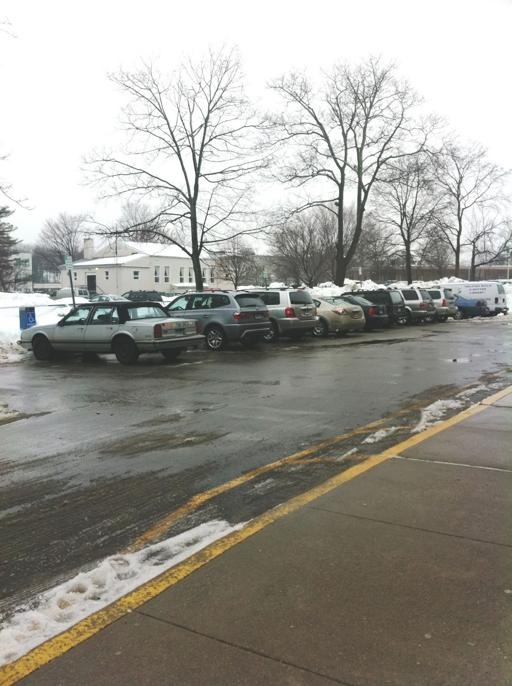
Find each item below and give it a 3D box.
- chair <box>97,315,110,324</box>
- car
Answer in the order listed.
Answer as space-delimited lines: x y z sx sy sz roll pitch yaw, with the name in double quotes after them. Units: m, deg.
-4.013 -0.602 14.341 0.354 0.207 0.249 8 -10 7 "chair"
-3.975 -0.236 14.771 4.115 1.461 2.097 4 7 27 "car"
